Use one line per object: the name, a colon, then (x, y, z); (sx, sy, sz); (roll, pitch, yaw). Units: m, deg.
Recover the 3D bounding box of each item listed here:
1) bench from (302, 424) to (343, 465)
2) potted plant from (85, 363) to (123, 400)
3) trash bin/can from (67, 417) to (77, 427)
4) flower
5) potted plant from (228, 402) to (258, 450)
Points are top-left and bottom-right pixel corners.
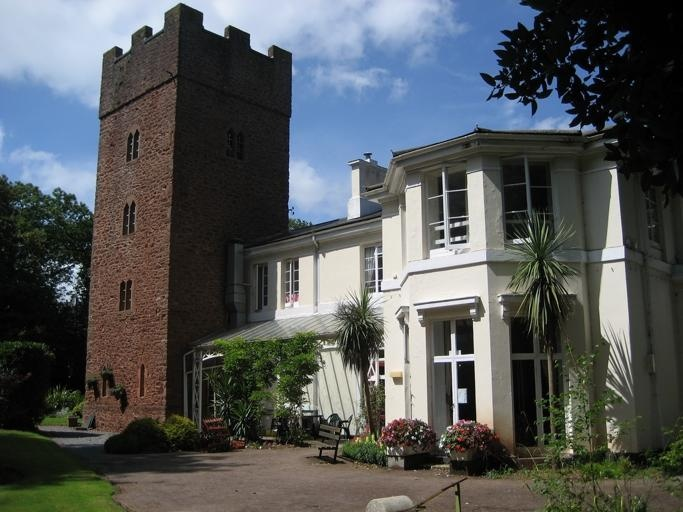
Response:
bench: (-0.500, 5.011, 17.840); (0.435, 0.671, 1.169); (-4, -19, 38)
potted plant: (-10.377, 5.291, 28.397); (1.363, 0.908, 1.787); (4, -22, -4)
trash bin/can: (-12.147, 7.417, 29.631); (0.409, 0.431, 0.415); (0, -4, -2)
flower: (2.215, 4.136, 15.170); (2.551, 0.785, 1.055); (-14, -18, 42)
potted plant: (-3.219, 5.402, 21.603); (1.120, 1.329, 0.519); (-8, -15, 29)
